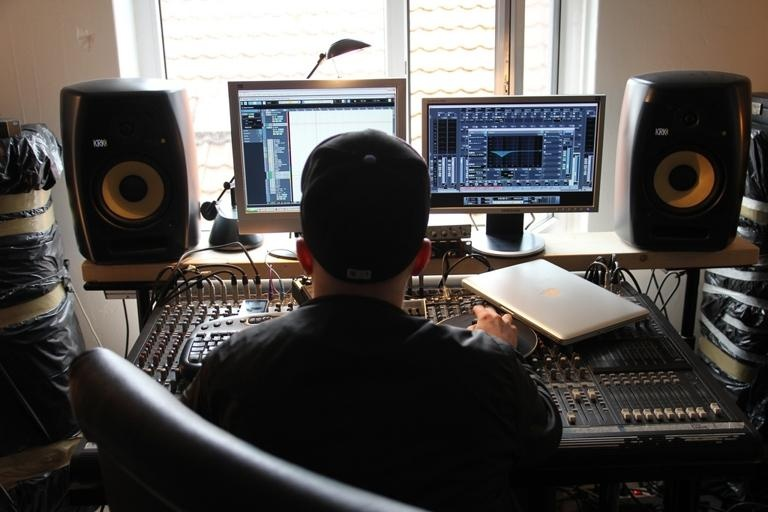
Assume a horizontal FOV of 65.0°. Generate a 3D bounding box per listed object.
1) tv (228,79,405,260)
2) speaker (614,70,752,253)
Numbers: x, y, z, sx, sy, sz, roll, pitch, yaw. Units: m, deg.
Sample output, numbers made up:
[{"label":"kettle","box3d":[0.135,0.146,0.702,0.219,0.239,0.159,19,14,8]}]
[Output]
[{"label":"tv","box3d":[-0.196,-0.290,1.720,0.635,0.566,0.226,-1,21,-3]},{"label":"speaker","box3d":[1.034,-0.314,2.110,0.405,0.599,0.166,7,16,28]}]
